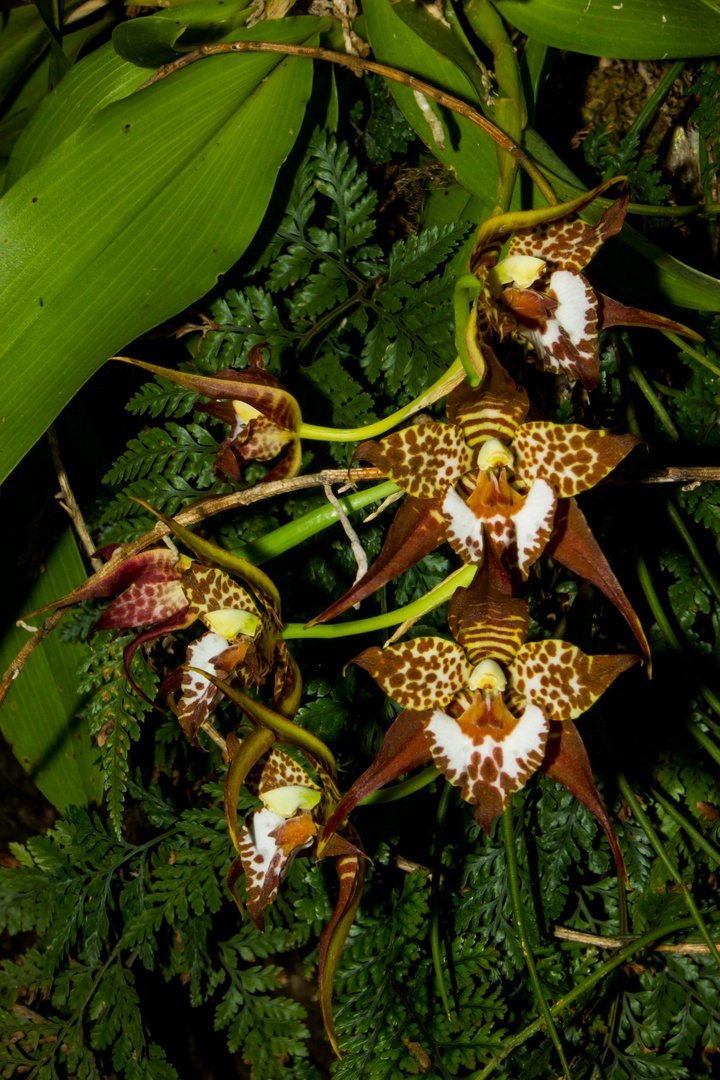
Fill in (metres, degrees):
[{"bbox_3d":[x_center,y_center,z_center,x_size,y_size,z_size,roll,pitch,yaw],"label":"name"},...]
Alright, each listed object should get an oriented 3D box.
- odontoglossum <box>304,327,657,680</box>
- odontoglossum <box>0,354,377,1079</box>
[{"bbox_3d":[0.111,-0.039,0.958,0.086,0.303,0.340,-38,-16,-4],"label":"odontoglossum"},{"bbox_3d":[-0.214,0.114,1.153,0.523,0.723,0.363,-5,-5,-22],"label":"odontoglossum"}]
